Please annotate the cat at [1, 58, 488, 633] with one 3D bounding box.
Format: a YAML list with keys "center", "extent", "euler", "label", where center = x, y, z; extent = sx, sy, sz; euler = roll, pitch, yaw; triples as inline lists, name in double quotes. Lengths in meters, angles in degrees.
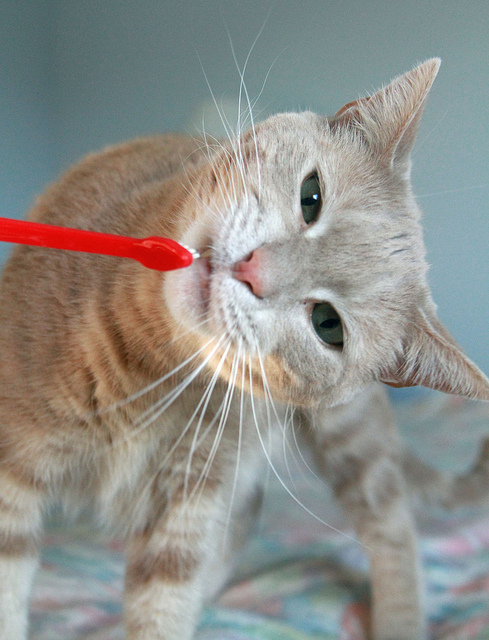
- center: [-0.059, 0.029, 1.076]
  extent: [0.700, 0.692, 0.416]
  euler: [-11, 24, -12]
  label: "cat"
